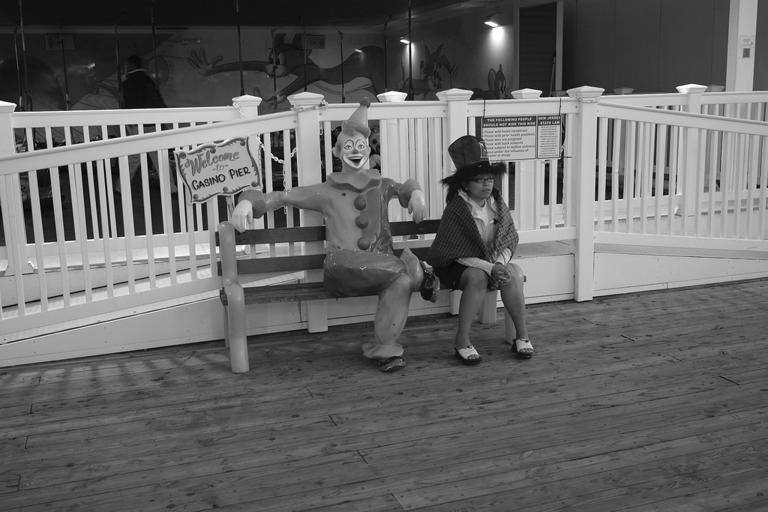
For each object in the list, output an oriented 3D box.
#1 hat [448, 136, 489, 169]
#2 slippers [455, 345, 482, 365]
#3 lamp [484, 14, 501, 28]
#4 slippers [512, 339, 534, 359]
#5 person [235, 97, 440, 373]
[{"bbox_3d":[0.551,-0.659,4.985,0.198,0.164,0.244,-23,15,-28],"label":"hat"},{"bbox_3d":[0.527,0.621,4.785,0.078,0.078,0.193,-3,5,-23],"label":"slippers"},{"bbox_3d":[1.727,-3.700,12.093,0.200,0.190,0.139,-10,17,-3],"label":"lamp"},{"bbox_3d":[0.885,0.587,4.878,0.066,0.061,0.178,-2,8,-6],"label":"slippers"},{"bbox_3d":[-0.180,-0.171,4.949,1.035,1.569,0.724,6,20,28],"label":"person"}]
